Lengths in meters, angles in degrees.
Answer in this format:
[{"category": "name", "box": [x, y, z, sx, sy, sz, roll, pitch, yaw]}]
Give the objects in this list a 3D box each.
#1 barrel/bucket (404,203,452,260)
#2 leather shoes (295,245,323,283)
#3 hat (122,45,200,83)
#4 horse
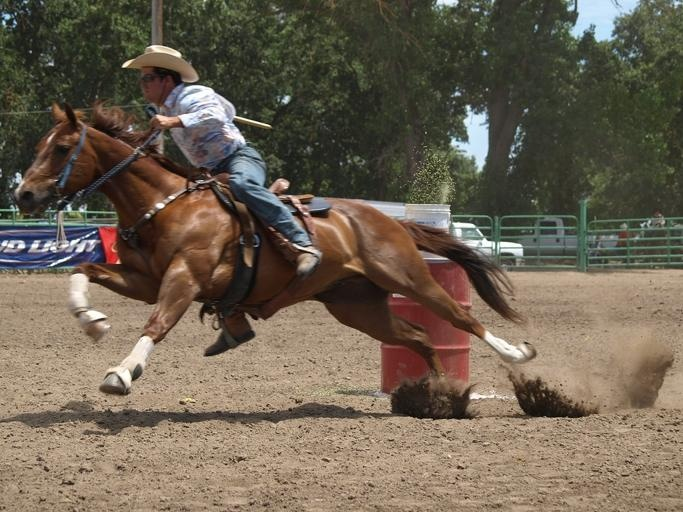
[{"category": "barrel/bucket", "box": [1.055, -0.300, 11.508, 0.868, 0.582, 0.690, 1, -7, -9]}, {"category": "leather shoes", "box": [-0.295, 0.089, 9.865, 0.284, 0.320, 0.162, 7, -19, 6]}, {"category": "hat", "box": [-1.790, -2.047, 10.066, 0.709, 0.183, 0.509, 5, -5, -29]}, {"category": "horse", "box": [-0.823, -0.146, 10.431, 5.533, 2.110, 1.171, 4, 5, -29]}]
